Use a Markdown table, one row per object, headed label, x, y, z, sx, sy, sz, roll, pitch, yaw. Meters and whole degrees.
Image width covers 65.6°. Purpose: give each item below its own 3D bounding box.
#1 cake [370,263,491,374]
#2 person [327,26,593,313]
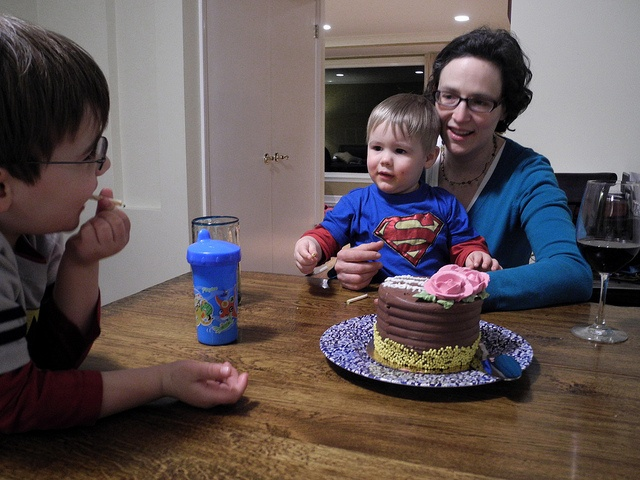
| label | x | y | z | sx | sy | sz | roll | pitch | yaw |
| --- | --- | --- | --- | --- | --- | --- | --- | --- | --- |
| cake | 0.204 | 0.130 | 0.959 | 0.184 | 0.167 | 0.188 | 0 | 10 | -8 |
| person | 0.476 | -0.198 | 1.616 | 0.586 | 0.891 | 0.862 | -9 | 14 | -42 |
